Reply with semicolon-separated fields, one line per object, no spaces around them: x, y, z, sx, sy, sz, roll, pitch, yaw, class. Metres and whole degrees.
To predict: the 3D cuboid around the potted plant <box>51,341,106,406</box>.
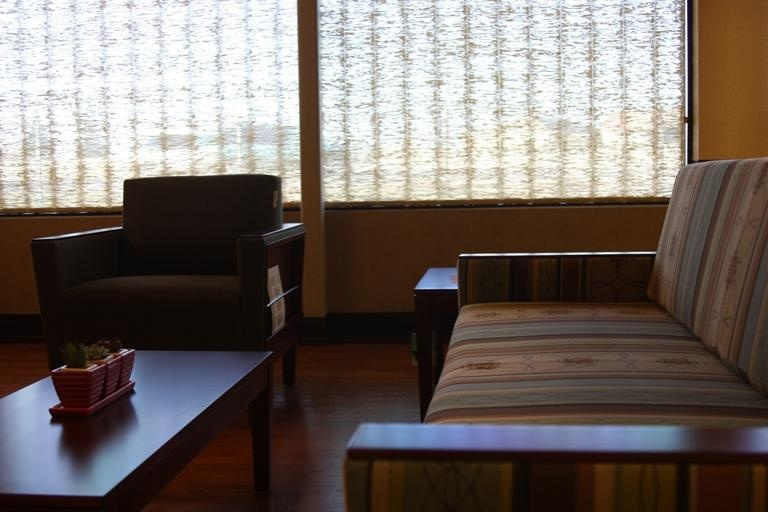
-0.983;0.390;2.162;0.173;0.188;0.169;-5;7;21;potted plant

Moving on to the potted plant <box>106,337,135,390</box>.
-0.902;0.381;2.256;0.116;0.152;0.101;-3;49;-13;potted plant
